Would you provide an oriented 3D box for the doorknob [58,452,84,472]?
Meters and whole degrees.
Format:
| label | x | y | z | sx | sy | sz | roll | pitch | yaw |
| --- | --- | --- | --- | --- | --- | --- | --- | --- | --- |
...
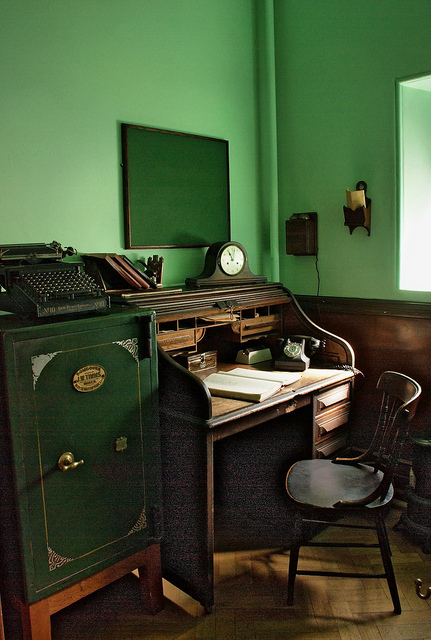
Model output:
| label | x | y | z | sx | sy | sz | roll | pitch | yaw |
| --- | --- | --- | --- | --- | --- | --- | --- | --- | --- |
| doorknob | -0.539 | 0.523 | 1.981 | 0.031 | 0.054 | 0.090 | 18 | 5 | 24 |

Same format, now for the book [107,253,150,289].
| label | x | y | z | sx | sy | sz | roll | pitch | yaw |
| --- | --- | --- | --- | --- | --- | --- | --- | --- | --- |
| book | -0.440 | -0.249 | 2.755 | 0.193 | 0.180 | 0.099 | -4 | 8 | -9 |

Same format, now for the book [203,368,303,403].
| label | x | y | z | sx | sy | sz | roll | pitch | yaw |
| --- | --- | --- | --- | --- | --- | --- | --- | --- | --- |
| book | 0.160 | 0.324 | 2.811 | 0.433 | 0.050 | 0.598 | 2 | 9 | 28 |

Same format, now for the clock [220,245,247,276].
| label | x | y | z | sx | sy | sz | roll | pitch | yaw |
| --- | --- | --- | --- | --- | --- | --- | --- | --- | --- |
| clock | 0.102 | -0.365 | 3.273 | 0.027 | 0.186 | 0.205 | 5 | 2 | 41 |

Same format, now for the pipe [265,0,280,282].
| label | x | y | z | sx | sy | sz | roll | pitch | yaw |
| --- | --- | --- | --- | --- | --- | --- | --- | --- | --- |
| pipe | 0.401 | -1.237 | 3.777 | 0.050 | 1.924 | 0.147 | 1 | 9 | 24 |

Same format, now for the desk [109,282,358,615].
| label | x | y | z | sx | sy | sz | roll | pitch | yaw |
| --- | --- | --- | --- | --- | --- | --- | --- | --- | --- |
| desk | 0.137 | 0.580 | 2.981 | 1.228 | 1.390 | 0.803 | -9 | 13 | -40 |

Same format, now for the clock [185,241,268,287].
| label | x | y | z | sx | sy | sz | roll | pitch | yaw |
| --- | --- | --- | --- | --- | --- | --- | --- | --- | --- |
| clock | 0.066 | -0.346 | 3.319 | 0.570 | 0.266 | 0.145 | -9 | 12 | -38 |

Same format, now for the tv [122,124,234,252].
| label | x | y | z | sx | sy | sz | roll | pitch | yaw |
| --- | --- | --- | --- | --- | --- | --- | --- | --- | --- |
| tv | -0.211 | -0.794 | 3.287 | 0.039 | 0.689 | 0.915 | 9 | 14 | 39 |
